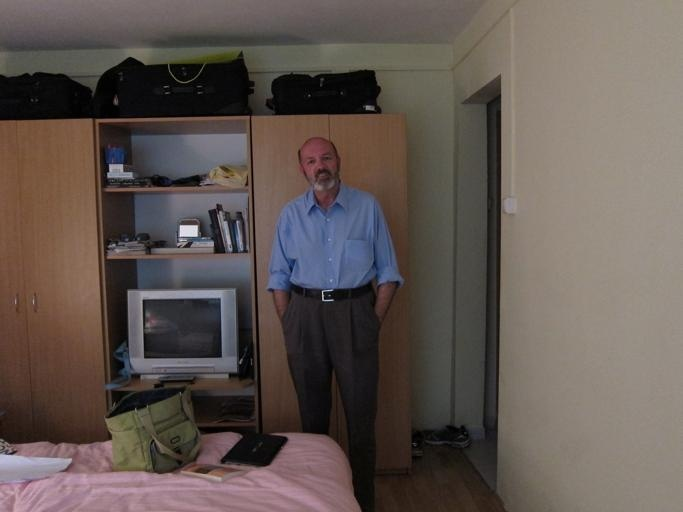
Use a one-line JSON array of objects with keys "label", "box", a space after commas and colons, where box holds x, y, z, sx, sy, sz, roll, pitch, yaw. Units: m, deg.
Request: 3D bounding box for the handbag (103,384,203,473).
[{"label": "handbag", "box": [-0.898, 0.874, 3.013, 0.481, 0.399, 0.375, -6, -13, -47]}]

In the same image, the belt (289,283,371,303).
[{"label": "belt", "box": [-0.058, 0.206, 3.413, 0.457, 0.077, 0.130, -1, 12, 4]}]

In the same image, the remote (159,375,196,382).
[{"label": "remote", "box": [-1.090, 0.818, 4.037, 0.155, 0.036, 0.081, 2, -3, -7]}]

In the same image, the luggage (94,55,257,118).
[{"label": "luggage", "box": [-1.086, -1.072, 3.937, 0.770, 0.332, 0.484, 0, 13, -1]}]
